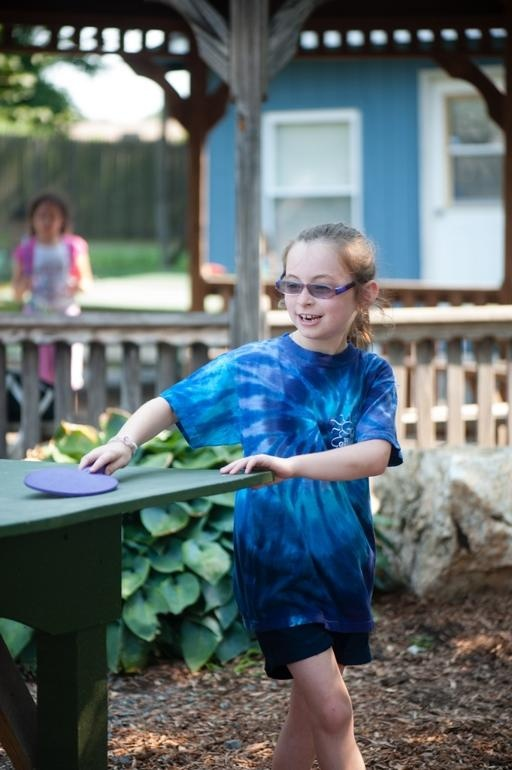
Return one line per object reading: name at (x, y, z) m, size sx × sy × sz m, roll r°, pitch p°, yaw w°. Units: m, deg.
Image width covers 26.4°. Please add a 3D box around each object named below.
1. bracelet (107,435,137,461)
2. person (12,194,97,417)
bracelet at (-0.311, 0.149, 2.570) m, size 0.053 × 0.032 × 0.070 m, roll -3°, pitch 36°, yaw 27°
person at (-1.186, -0.488, 6.358) m, size 0.378 × 1.222 × 0.304 m, roll -4°, pitch 8°, yaw -22°
